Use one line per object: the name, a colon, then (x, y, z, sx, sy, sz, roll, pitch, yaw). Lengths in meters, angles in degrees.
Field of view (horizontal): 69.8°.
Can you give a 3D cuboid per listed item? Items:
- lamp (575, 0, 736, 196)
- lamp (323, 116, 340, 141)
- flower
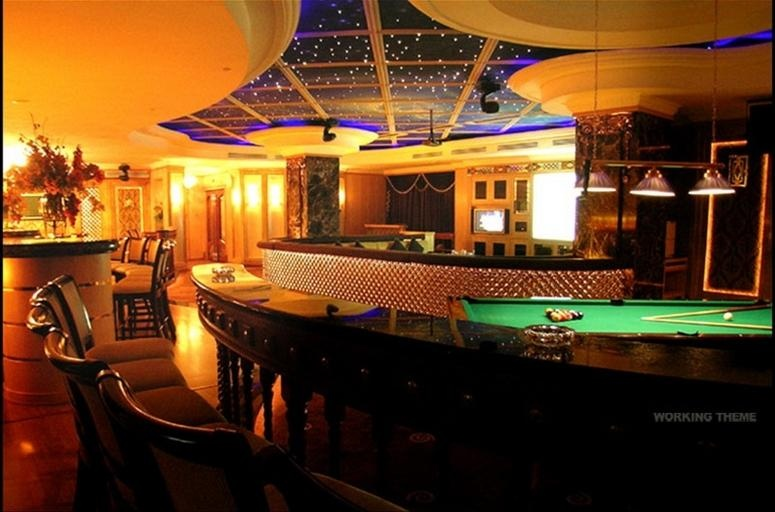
lamp: (2.969, -1.824, 6.280, 1.945, 2.500, 0.555, 2, 3, 25)
lamp: (-1.007, -2.182, 9.609, 0.391, 0.483, 0.301, -3, 14, -17)
flower: (-3.386, -0.736, 5.613, 0.870, 0.813, 0.394, -2, 5, -18)
